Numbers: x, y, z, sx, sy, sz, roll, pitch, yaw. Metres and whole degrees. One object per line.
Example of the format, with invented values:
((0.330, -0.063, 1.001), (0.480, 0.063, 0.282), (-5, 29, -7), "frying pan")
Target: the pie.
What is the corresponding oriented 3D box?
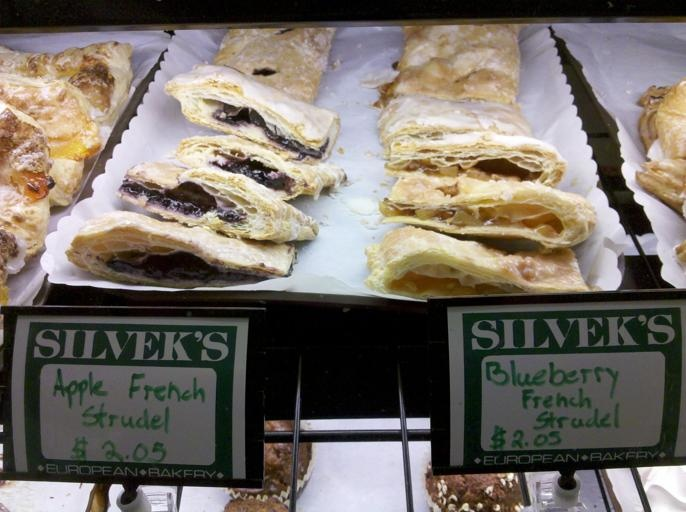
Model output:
((0.047, -0.293, 1.977), (1.447, 0.194, 0.974), (4, 45, 4), "pie")
